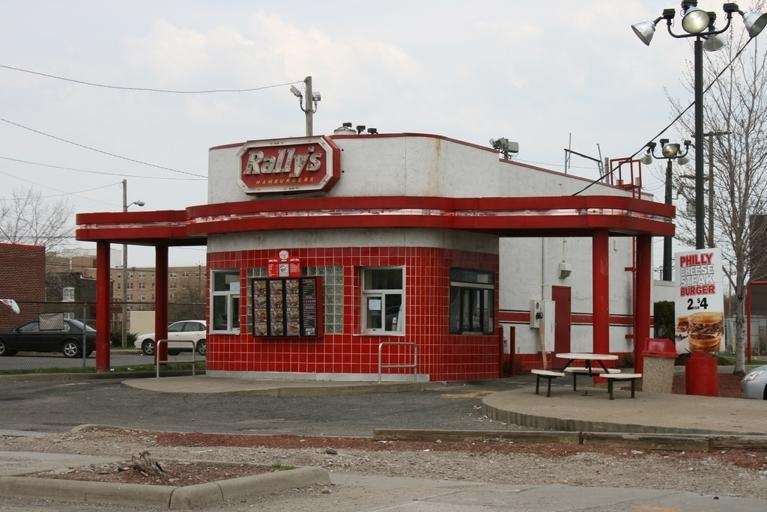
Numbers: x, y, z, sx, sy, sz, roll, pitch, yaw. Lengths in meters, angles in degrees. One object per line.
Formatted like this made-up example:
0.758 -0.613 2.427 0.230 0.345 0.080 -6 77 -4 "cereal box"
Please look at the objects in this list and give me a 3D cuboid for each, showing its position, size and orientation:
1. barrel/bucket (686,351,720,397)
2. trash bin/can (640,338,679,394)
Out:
7.937 2.959 28.090 0.785 1.116 0.789 -1 -8 0 "barrel/bucket"
7.040 2.813 28.537 0.884 1.402 0.861 -2 -8 11 "trash bin/can"
